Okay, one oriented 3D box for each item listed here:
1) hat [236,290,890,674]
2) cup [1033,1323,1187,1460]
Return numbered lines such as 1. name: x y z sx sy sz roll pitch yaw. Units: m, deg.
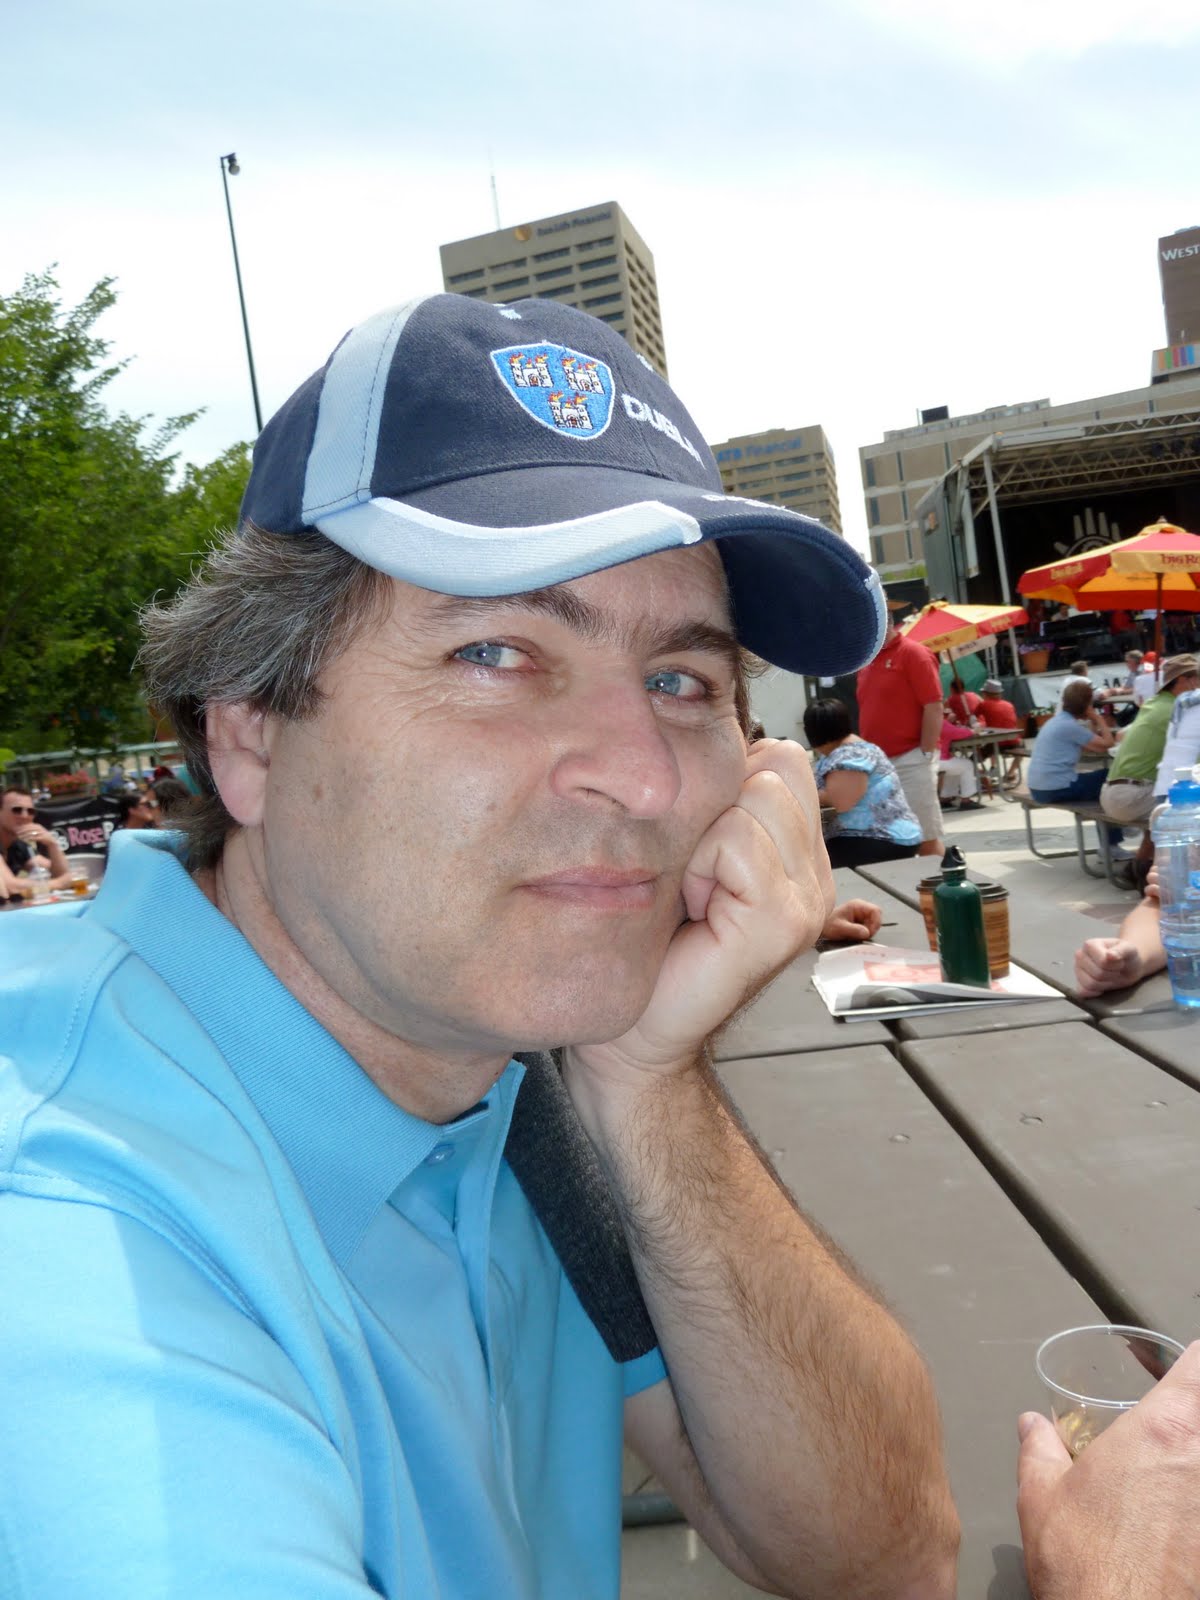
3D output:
1. hat: -0.067 -0.330 1.394 0.495 0.314 0.683 3 0 -36
2. cup: 0.472 0.545 1.258 0.099 0.071 0.102 1 -3 0
